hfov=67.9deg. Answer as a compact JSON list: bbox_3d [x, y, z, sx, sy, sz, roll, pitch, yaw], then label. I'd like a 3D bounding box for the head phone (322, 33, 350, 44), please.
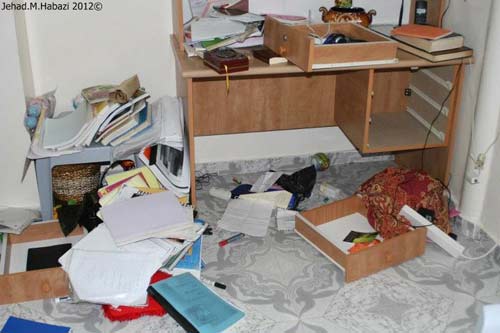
[{"bbox_3d":[0.474,-0.695,2.038,0.145,0.049,0.194,4,29,12],"label":"head phone"}]

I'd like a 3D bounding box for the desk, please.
[{"bbox_3d":[0.445,-0.417,2.698,2.121,0.992,0.749,-4,32,-8],"label":"desk"}]

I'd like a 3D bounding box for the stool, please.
[{"bbox_3d":[-1.004,-0.022,2.311,0.581,0.430,0.442,-7,31,-17],"label":"stool"}]

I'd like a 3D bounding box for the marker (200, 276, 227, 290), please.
[{"bbox_3d":[-0.175,0.586,1.851,0.189,0.042,0.014,18,39,0],"label":"marker"}]

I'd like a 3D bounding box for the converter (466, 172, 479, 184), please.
[{"bbox_3d":[1.254,0.066,2.090,0.054,0.031,0.053,-13,27,-25],"label":"converter"}]
